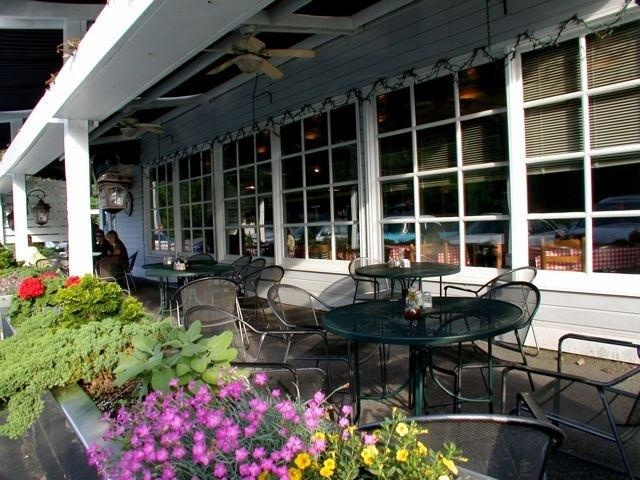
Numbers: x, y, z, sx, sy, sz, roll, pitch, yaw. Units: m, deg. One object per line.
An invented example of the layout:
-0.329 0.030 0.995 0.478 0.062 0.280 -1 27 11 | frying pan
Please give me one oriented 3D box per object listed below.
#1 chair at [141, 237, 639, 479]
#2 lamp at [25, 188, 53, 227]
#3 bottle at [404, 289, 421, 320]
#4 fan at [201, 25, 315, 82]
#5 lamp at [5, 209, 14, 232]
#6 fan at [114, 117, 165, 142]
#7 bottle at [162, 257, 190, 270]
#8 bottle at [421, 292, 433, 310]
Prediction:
0.967 0.813 3.533 2.462 0.898 2.202 0 1 31 | chair
-4.899 -0.583 8.019 0.332 0.652 0.418 -1 1 -27 | lamp
0.561 0.374 2.781 0.099 0.168 0.224 0 1 13 | bottle
-0.690 -1.735 4.315 0.837 0.296 0.649 12 48 21 | fan
-7.004 -0.464 10.359 0.107 0.436 0.310 -1 1 -29 | lamp
-2.464 -1.536 6.288 0.642 0.148 0.581 0 3 16 | fan
-1.619 0.266 5.212 0.316 0.092 0.226 -3 8 -29 | bottle
0.692 0.376 2.935 0.049 0.103 0.176 0 1 25 | bottle
